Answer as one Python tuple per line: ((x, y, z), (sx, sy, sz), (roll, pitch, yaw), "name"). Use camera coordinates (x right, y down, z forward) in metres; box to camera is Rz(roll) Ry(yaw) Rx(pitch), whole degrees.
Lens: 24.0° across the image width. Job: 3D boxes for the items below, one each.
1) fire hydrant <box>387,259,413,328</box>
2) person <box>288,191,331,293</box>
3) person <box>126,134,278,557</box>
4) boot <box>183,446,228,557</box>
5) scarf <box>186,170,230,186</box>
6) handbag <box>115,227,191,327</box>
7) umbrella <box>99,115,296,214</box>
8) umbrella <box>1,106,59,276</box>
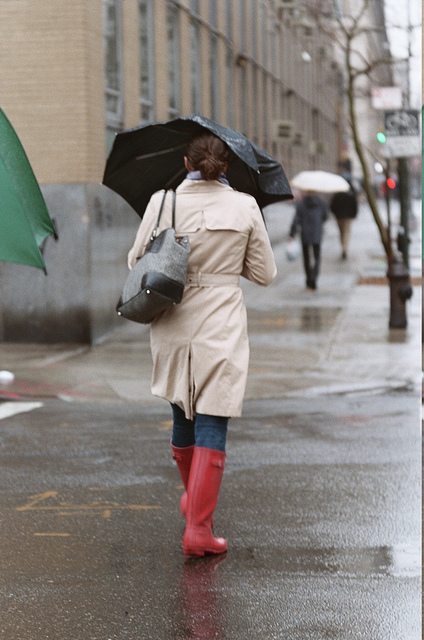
((2.090, -0.280, 11.077), (0.266, 0.788, 0.510), (0, 6, 11), "fire hydrant")
((1.611, -1.316, 16.295), (0.611, 1.553, 1.858), (0, 6, 5), "person")
((-0.031, 0.103, 4.228), (0.599, 1.728, 0.623), (-3, 6, -19), "person")
((-0.027, 0.736, 4.104), (0.185, 0.469, 0.169), (-1, 6, 1), "boot")
((-0.012, -0.583, 4.109), (0.191, 0.053, 0.124), (-3, 7, -16), "scarf")
((-0.225, -0.172, 3.874), (0.284, 0.343, 0.191), (-1, 6, -4), "handbag")
((-0.098, -0.745, 4.434), (0.581, 0.258, 0.600), (-9, -39, 32), "umbrella")
((-0.775, -0.513, 4.153), (0.212, 0.574, 0.175), (-2, 6, -8), "umbrella")
